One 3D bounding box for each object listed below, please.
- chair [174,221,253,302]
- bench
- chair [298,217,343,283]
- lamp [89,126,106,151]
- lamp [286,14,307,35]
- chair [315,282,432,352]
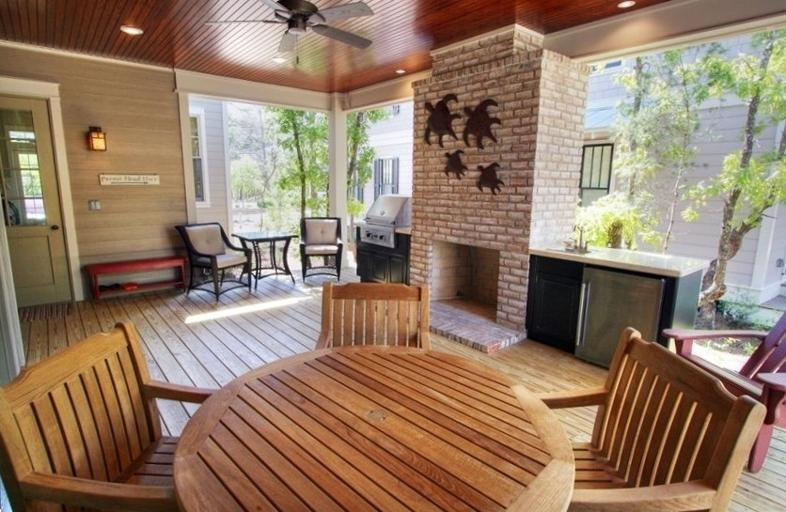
[{"bbox_3d":[-2.683,0.055,7.445,0.948,1.043,1.356,-6,12,-26],"label":"chair"},{"bbox_3d":[-3.725,0.317,7.232,1.304,0.558,0.547,-6,12,-30],"label":"bench"},{"bbox_3d":[-1.209,-0.144,8.304,1.013,1.244,1.094,0,4,-9],"label":"chair"},{"bbox_3d":[-4.124,-1.625,6.901,0.232,0.349,0.146,-6,14,-27],"label":"lamp"},{"bbox_3d":[-0.962,-2.277,4.919,0.194,0.139,0.229,0,10,-2],"label":"lamp"},{"bbox_3d":[-0.153,0.435,3.928,0.784,0.670,0.550,0,12,1],"label":"chair"}]
